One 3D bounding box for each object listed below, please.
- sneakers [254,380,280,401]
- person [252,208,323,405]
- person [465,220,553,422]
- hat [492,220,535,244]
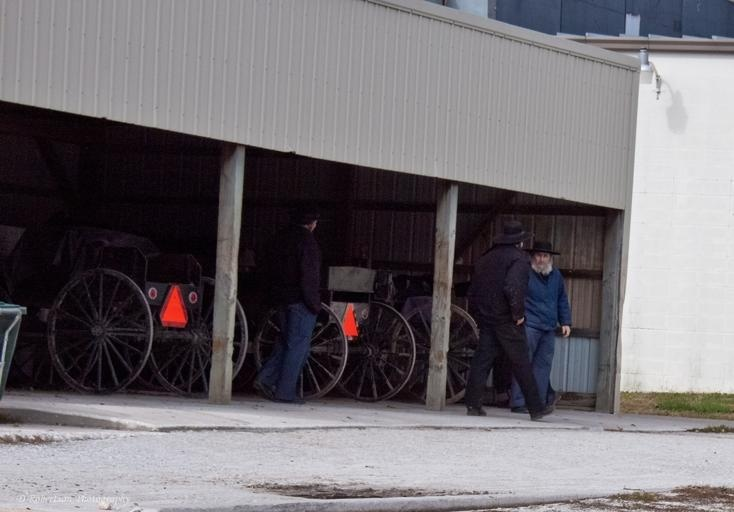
[{"bbox_3d":[-1.198,1.540,16.081,0.262,0.231,0.298,2,-6,-5],"label":"sneakers"},{"bbox_3d":[-0.919,0.554,16.135,0.714,2.245,0.384,2,-5,-4],"label":"person"},{"bbox_3d":[1.624,0.724,16.195,0.915,2.286,0.494,0,-5,14],"label":"person"},{"bbox_3d":[1.750,-0.258,16.409,0.363,0.154,0.395,3,4,33],"label":"hat"}]
